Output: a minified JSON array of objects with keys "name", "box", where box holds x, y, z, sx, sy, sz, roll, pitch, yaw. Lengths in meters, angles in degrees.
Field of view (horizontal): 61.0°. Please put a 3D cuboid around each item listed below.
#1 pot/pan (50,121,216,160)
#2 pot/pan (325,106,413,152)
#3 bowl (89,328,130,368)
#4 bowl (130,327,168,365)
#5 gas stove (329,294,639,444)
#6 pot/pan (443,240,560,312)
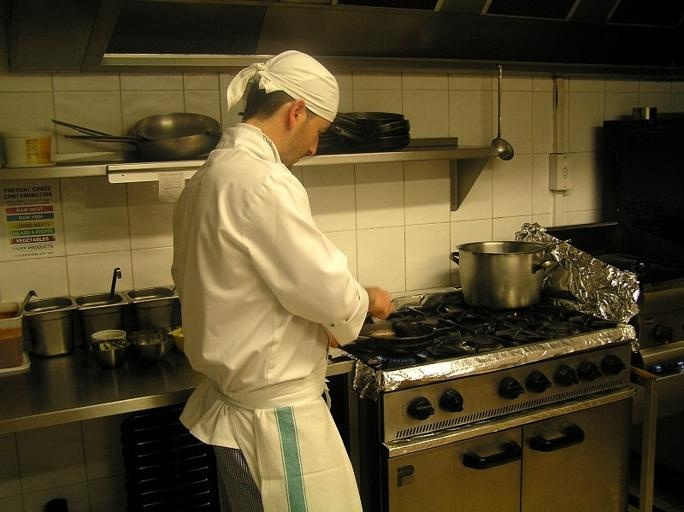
[{"name":"pot/pan","box":[-0.706,-0.395,2.064,0.429,0.103,0.244,-1,4,-22]},{"name":"pot/pan","box":[0.116,-0.522,2.285,0.249,0.088,0.185,-13,23,-31]},{"name":"bowl","box":[-0.829,0.320,2.052,0.114,0.100,0.134,2,1,39]},{"name":"bowl","box":[-0.695,0.326,2.106,0.135,0.098,0.150,-5,8,-21]},{"name":"gas stove","box":[0.562,0.440,2.344,1.070,0.321,0.685,-8,3,-14]},{"name":"pot/pan","box":[0.678,0.076,2.488,0.483,0.248,0.397,2,10,41]}]
